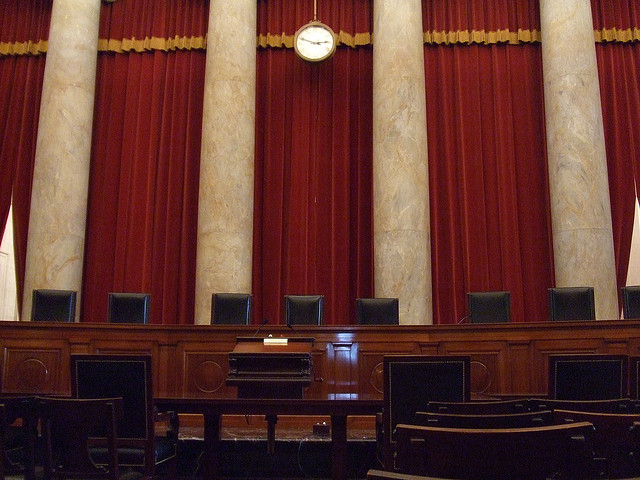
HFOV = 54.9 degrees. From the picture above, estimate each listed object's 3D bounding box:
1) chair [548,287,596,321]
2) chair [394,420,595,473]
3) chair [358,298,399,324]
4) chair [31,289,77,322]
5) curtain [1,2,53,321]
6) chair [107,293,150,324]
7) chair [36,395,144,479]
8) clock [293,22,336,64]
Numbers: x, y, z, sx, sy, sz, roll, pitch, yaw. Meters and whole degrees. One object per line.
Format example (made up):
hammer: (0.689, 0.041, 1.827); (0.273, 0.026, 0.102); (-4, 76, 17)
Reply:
chair: (2.491, 0.639, 6.198); (0.315, 0.562, 0.361); (-1, -17, 14)
chair: (0.807, 0.955, 2.808); (0.909, 0.221, 0.119); (-1, -5, 1)
chair: (0.584, 0.705, 6.244); (0.249, 0.329, 0.403); (-1, -1, 8)
chair: (-2.685, 0.691, 6.309); (0.279, 0.526, 0.363); (2, -14, -12)
curtain: (-4.370, -1.448, 8.824); (0.770, 4.295, 0.384); (-1, -5, 5)
chair: (-1.928, 0.714, 6.316); (0.277, 0.524, 0.334); (2, -12, -9)
chair: (-1.477, 1.257, 3.905); (0.636, 0.553, 0.446); (0, -5, -14)
clock: (-0.078, -2.736, 8.491); (0.572, 0.177, 0.635); (-21, -32, 23)
